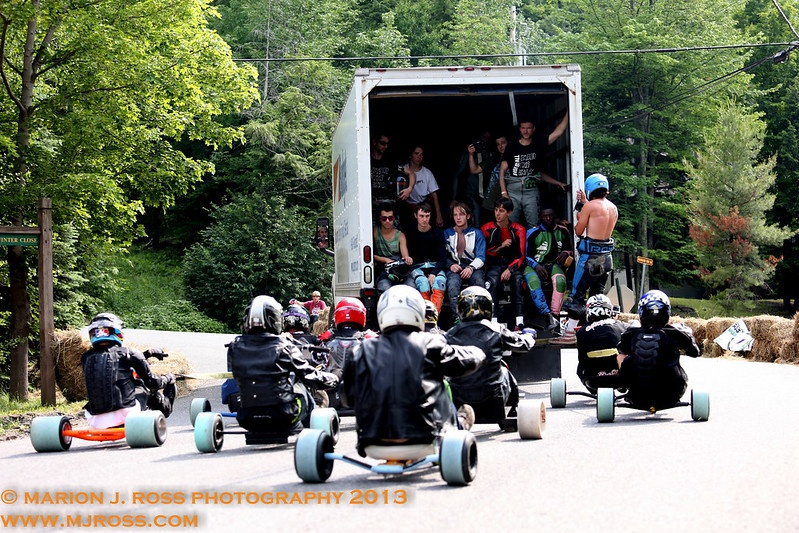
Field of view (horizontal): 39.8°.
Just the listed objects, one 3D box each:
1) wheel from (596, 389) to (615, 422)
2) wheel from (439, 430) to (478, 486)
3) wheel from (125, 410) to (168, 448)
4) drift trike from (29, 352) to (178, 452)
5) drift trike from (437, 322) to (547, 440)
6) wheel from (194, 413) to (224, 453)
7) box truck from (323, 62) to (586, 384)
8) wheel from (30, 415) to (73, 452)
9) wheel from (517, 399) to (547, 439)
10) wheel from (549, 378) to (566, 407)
[{"bbox_3d":[4.032,2.621,20.762,0.317,0.612,0.618,1,3,3],"label":"wheel"},{"bbox_3d":[1.079,3.158,18.002,0.481,0.924,0.947,-2,-2,19],"label":"wheel"},{"bbox_3d":[-4.640,2.943,20.457,0.809,0.682,0.641,0,-5,7],"label":"wheel"},{"bbox_3d":[-5.534,2.461,21.541,2.380,1.431,3.105,-4,11,3],"label":"drift trike"},{"bbox_3d":[1.844,2.080,21.140,2.277,2.050,3.333,0,5,14],"label":"drift trike"},{"bbox_3d":[-3.469,3.000,20.109,0.421,0.704,0.723,-3,-8,8],"label":"wheel"},{"bbox_3d":[1.567,-2.111,25.998,4.779,5.277,9.298,-7,11,-4],"label":"box truck"},{"bbox_3d":[-6.483,3.168,20.662,0.633,0.763,0.782,1,-1,5],"label":"wheel"},{"bbox_3d":[2.542,2.766,20.338,0.560,0.999,1.014,-1,-1,11],"label":"wheel"},{"bbox_3d":[3.456,2.553,22.375,0.476,0.635,0.642,1,1,3],"label":"wheel"}]
